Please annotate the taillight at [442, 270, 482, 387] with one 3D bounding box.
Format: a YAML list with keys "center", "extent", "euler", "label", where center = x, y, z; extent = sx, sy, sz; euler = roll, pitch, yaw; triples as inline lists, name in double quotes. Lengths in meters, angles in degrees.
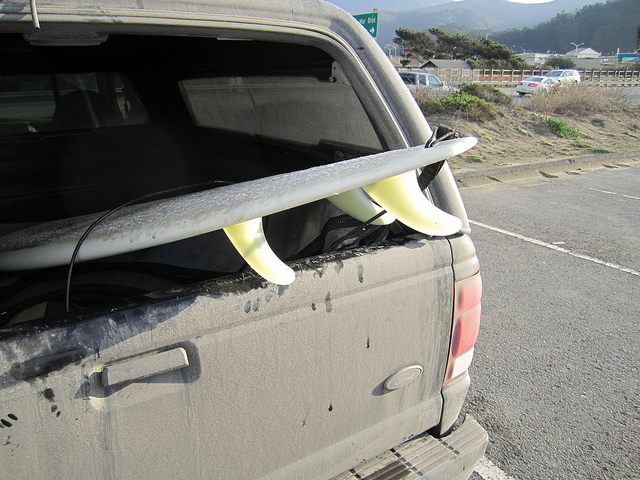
- center: [0.500, 0.297, 1.523]
  extent: [0.063, 0.380, 0.240]
  euler: [12, 28, 37]
  label: "taillight"
